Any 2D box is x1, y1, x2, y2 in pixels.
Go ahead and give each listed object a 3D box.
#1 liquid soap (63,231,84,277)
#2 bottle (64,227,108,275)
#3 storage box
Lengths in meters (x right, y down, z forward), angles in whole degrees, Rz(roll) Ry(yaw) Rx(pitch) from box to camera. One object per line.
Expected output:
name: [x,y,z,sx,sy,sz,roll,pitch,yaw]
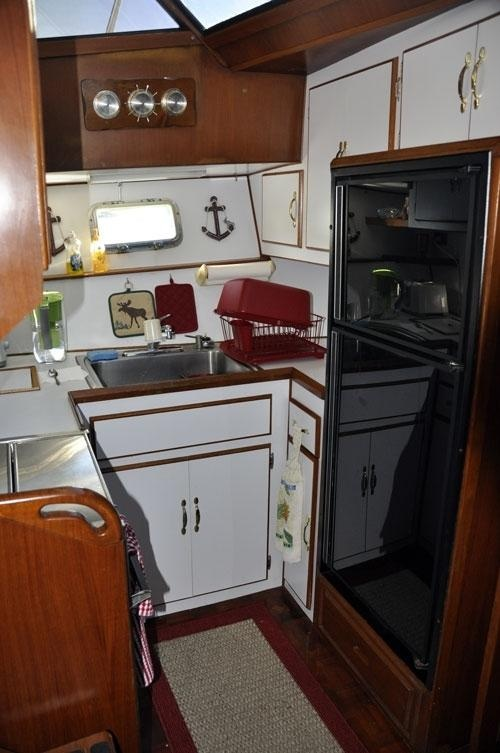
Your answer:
liquid soap: [-0.864,-0.598,2.519,0.087,0.202,0.061,-4,10,-18]
bottle: [-0.815,-0.622,2.534,0.180,0.220,0.066,-8,13,-32]
storage box: [0.094,-0.302,2.449,0.406,0.381,0.448,-4,12,-18]
